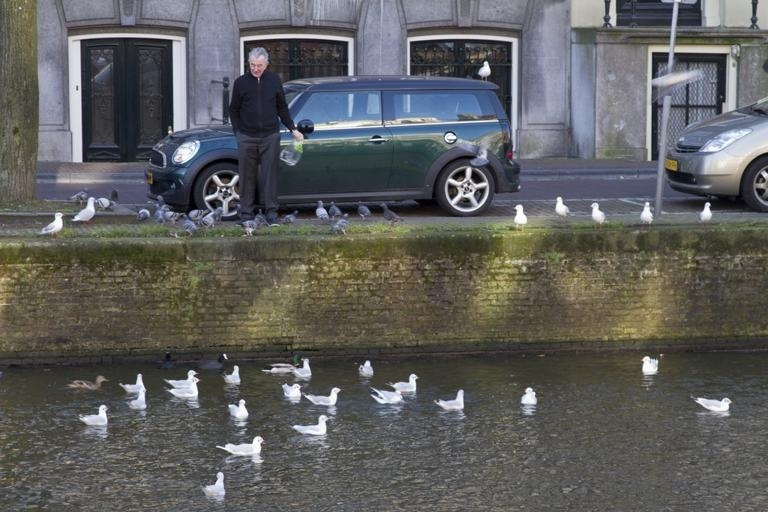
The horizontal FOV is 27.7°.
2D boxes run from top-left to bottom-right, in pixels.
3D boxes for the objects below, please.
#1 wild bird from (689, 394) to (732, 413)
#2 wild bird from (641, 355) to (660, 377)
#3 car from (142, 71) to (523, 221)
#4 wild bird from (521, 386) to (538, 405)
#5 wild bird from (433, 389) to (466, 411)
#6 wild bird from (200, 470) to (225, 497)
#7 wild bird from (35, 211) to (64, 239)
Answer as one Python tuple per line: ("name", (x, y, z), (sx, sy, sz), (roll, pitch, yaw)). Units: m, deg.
("wild bird", (4.112, 1.856, 19.535), (0.474, 0.161, 0.448), (1, 9, 11))
("wild bird", (3.494, 1.470, 20.584), (0.170, 0.231, 0.307), (0, 5, 35))
("car", (-0.886, -1.658, 24.300), (5.390, 1.676, 2.326), (0, 2, -12))
("wild bird", (1.829, 1.771, 19.703), (0.222, 0.196, 0.362), (0, 9, 3))
("wild bird", (0.811, 1.792, 19.539), (0.379, 0.252, 0.360), (0, 9, 2))
("wild bird", (-1.925, 2.606, 17.743), (0.312, 0.270, 0.200), (-15, 30, -33))
("wild bird", (-4.454, -0.388, 20.818), (0.439, 0.379, 0.234), (-2, -5, 10))
